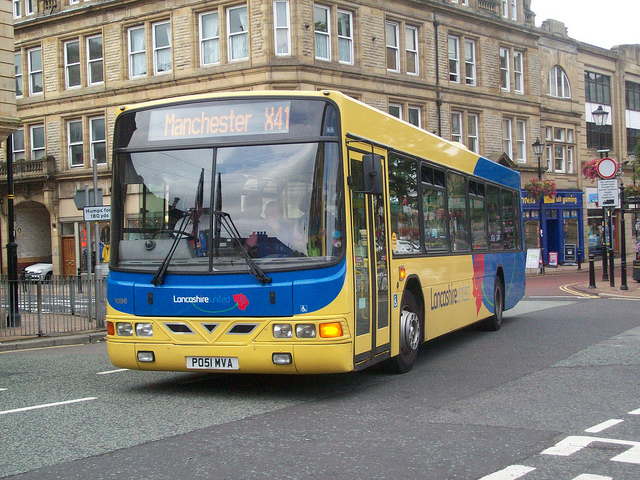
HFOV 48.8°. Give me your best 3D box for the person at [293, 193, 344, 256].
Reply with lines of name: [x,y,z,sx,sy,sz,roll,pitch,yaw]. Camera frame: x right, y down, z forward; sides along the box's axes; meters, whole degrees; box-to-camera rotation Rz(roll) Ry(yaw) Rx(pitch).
person: [-0.026,-0.121,8.822,0.449,0.883,0.200,-1,14,2]

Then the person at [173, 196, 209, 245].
person: [-1.655,-0.255,9.141,0.277,0.428,0.699,0,-2,13]
